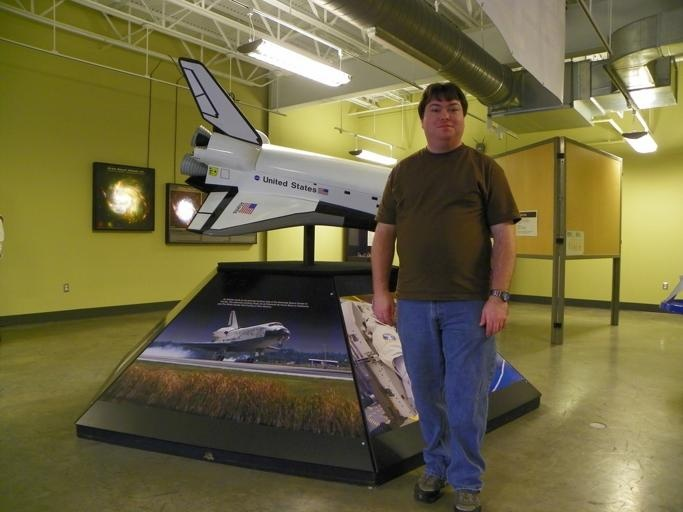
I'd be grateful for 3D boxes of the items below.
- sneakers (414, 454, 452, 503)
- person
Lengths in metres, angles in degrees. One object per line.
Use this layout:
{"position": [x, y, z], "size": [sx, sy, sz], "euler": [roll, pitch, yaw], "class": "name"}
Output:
{"position": [0.466, 1.130, 2.419], "size": [0.090, 0.117, 0.260], "euler": [1, 8, 26], "class": "sneakers"}
{"position": [0.480, 0.183, 2.356], "size": [0.667, 2.053, 0.314], "euler": [5, 8, 35], "class": "person"}
